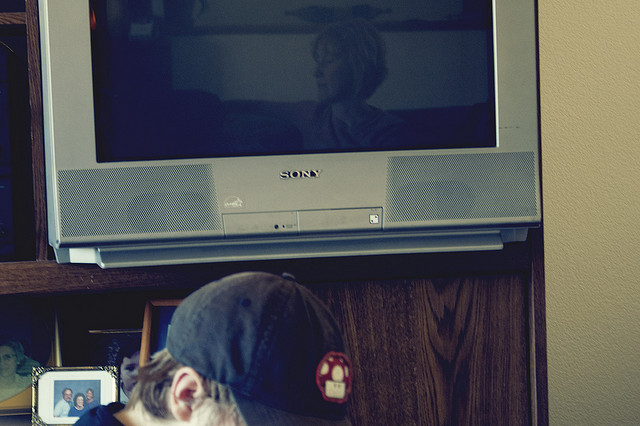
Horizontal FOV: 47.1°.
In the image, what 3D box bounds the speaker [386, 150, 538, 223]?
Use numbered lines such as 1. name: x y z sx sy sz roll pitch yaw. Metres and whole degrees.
1. speaker: 0.364 -0.068 1.995 0.346 0.193 0.085 -1 -3 -1
